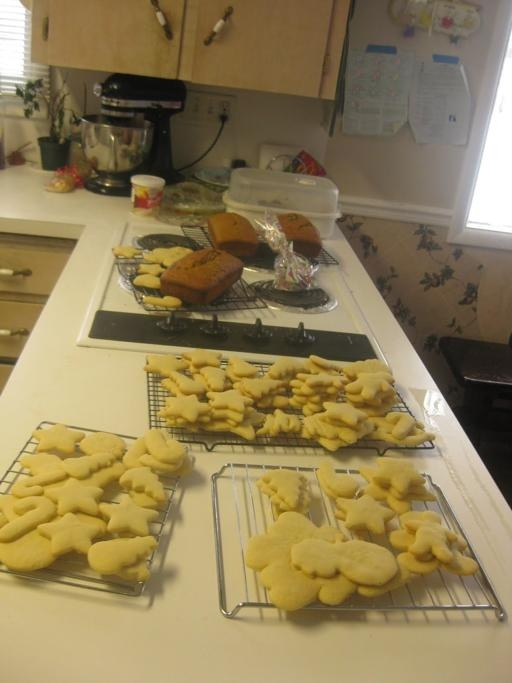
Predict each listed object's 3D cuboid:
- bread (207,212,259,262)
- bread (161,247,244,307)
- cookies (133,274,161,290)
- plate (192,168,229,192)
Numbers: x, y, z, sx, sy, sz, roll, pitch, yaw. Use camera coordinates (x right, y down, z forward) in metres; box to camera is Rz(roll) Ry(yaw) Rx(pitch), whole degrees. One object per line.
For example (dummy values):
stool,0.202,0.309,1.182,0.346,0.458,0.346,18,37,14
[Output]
bread,-0.051,-0.331,1.665,0.169,0.144,0.150,-8,29,11
bread,-0.133,-0.164,1.361,0.118,0.086,0.192,19,31,20
cookies,-0.272,-0.150,1.334,0.043,0.016,0.055,3,20,-15
plate,-0.176,-0.643,2.102,0.138,0.059,0.214,4,25,-5
